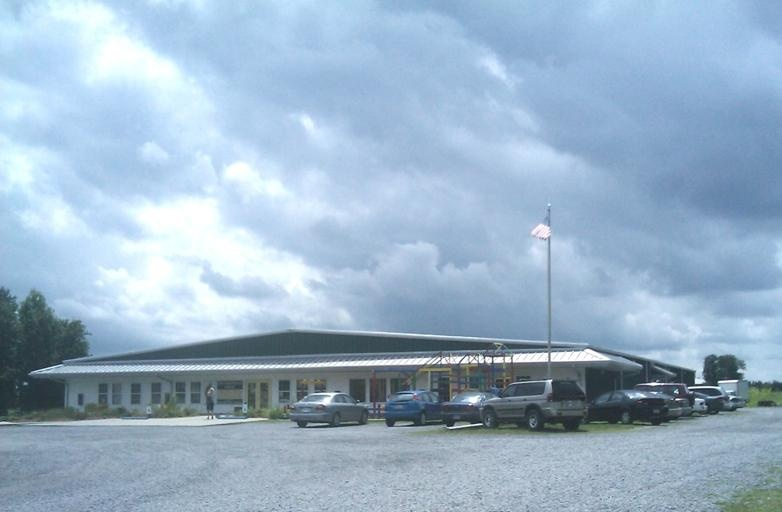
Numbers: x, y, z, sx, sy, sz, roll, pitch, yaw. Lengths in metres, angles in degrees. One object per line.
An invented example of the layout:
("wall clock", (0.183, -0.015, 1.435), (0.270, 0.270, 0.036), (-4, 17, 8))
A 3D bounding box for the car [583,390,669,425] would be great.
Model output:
("car", (11.772, 7.699, 36.786), (1.775, 1.296, 3.735), (6, -10, -33))

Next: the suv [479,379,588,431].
("suv", (6.402, 6.605, 32.777), (3.934, 1.876, 2.229), (-4, -10, 44))

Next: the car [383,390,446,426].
("car", (1.082, 7.811, 37.013), (2.789, 1.742, 1.292), (3, -15, -9))

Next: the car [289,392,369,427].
("car", (-3.141, 7.957, 37.452), (1.337, 1.651, 3.961), (-13, -21, 42))
